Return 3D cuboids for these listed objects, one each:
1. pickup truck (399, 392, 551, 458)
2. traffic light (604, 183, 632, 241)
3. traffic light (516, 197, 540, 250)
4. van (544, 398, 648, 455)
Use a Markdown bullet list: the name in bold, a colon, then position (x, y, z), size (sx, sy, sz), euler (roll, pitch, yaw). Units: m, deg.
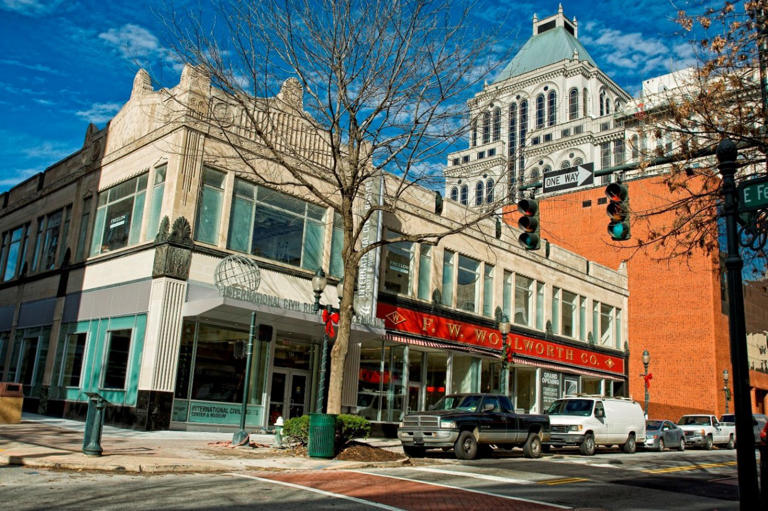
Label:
- **pickup truck**: position (3.488, 6.540, 27.251), size (4.886, 1.581, 2.765), euler (19, -28, -39)
- **traffic light**: position (6.336, -1.315, 19.042), size (0.585, 1.670, 0.850), euler (-4, -21, 17)
- **traffic light**: position (4.132, -0.958, 20.092), size (0.571, 1.507, 0.621), euler (-1, -21, 8)
- **van**: position (9.486, 7.639, 31.998), size (4.781, 1.911, 2.576), euler (15, -22, -35)
